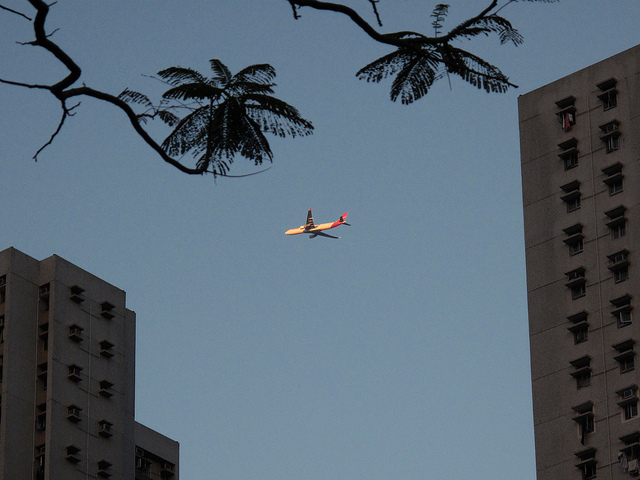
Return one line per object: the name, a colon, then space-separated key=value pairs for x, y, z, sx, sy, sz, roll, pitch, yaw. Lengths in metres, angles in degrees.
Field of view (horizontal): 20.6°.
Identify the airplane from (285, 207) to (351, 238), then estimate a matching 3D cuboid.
airplane: x=-0.113 y=-1.053 z=162.958 sx=3.963 sy=1.106 sz=4.213 roll=-8 pitch=-33 yaw=26
